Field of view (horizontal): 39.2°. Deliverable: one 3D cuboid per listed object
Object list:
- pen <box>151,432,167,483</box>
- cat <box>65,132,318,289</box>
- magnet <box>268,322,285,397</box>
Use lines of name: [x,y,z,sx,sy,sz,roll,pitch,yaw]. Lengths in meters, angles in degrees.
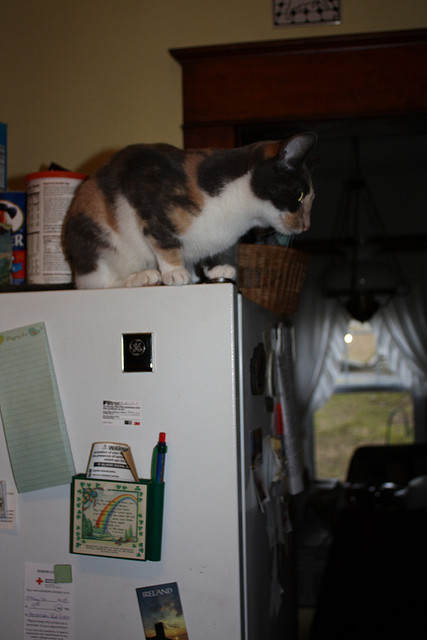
pen: [-0.081,0.202,0.879,0.023,0.067,0.031,0,13,7]
cat: [-0.053,-0.189,1.090,0.441,0.304,0.225,7,13,8]
magnet: [0.127,0.073,1.212,0.036,0.160,0.036,-1,4,1]
